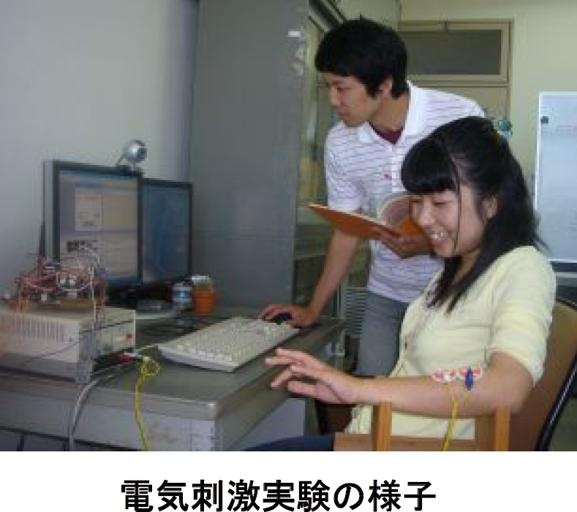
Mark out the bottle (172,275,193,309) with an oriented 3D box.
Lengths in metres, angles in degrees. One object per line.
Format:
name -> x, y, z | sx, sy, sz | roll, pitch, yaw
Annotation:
bottle -> -0.352, 0.139, 1.780 | 0.077, 0.090, 0.079 | -2, -2, 33

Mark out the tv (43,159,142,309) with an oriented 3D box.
tv -> -0.566, -0.080, 1.556 | 0.042, 0.369, 0.375 | 3, 5, 18

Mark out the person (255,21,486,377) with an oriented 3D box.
person -> 0.293, 0.058, 1.906 | 0.767, 1.626, 0.469 | -2, 8, 7

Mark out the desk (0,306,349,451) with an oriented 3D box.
desk -> -0.256, 0.316, 1.263 | 0.812, 0.190, 0.542 | 1, 5, -8

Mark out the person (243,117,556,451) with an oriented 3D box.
person -> 0.253, 0.042, 1.584 | 0.667, 1.248, 0.687 | 2, 3, 7

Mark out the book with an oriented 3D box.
book -> 0.253, -0.081, 1.425 | 0.213, 0.081, 0.217 | 5, -6, -10

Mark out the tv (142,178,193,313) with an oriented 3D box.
tv -> -0.438, -0.065, 1.829 | 0.031, 0.407, 0.355 | 6, 10, 18

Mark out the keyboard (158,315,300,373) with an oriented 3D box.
keyboard -> -0.138, 0.215, 1.290 | 0.126, 0.045, 0.227 | 5, 6, 23

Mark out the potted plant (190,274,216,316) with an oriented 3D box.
potted plant -> -0.292, 0.132, 1.787 | 0.072, 0.127, 0.123 | -2, -5, 13
